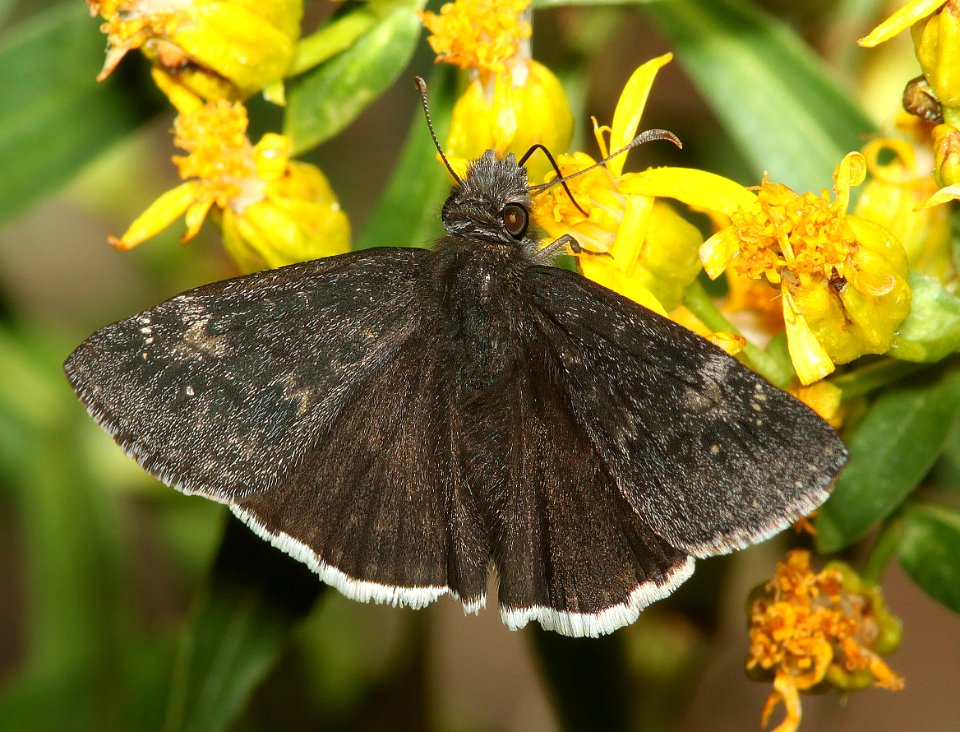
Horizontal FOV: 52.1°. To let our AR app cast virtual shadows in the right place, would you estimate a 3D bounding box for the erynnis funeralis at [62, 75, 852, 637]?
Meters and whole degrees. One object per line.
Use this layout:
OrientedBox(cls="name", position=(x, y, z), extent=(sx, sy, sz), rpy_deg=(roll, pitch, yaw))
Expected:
OrientedBox(cls="erynnis funeralis", position=(-0.015, 0.036, 1.095), extent=(0.764, 0.316, 0.437), rpy_deg=(18, 55, 11))
